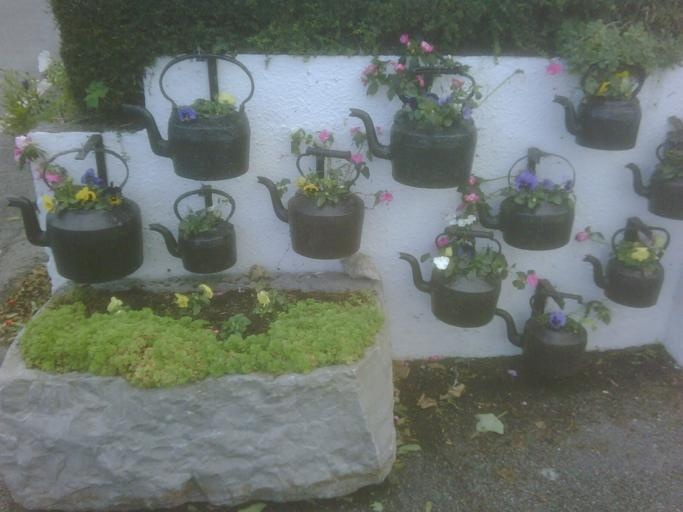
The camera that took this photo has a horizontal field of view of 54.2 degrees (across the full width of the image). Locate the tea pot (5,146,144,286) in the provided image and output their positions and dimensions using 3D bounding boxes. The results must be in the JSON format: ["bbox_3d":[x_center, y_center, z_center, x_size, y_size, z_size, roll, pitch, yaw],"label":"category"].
[{"bbox_3d":[-1.490,-0.319,4.081,0.895,0.938,0.540,-11,31,-25],"label":"tea pot"}]

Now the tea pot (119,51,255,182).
[{"bbox_3d":[-0.762,-0.813,3.901,0.870,0.776,0.507,-2,25,-9],"label":"tea pot"}]

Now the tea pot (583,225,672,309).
[{"bbox_3d":[1.799,0.012,4.364,0.610,0.630,0.382,0,26,13],"label":"tea pot"}]

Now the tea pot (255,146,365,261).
[{"bbox_3d":[-0.149,-0.274,3.998,0.429,0.738,0.521,-13,34,-27],"label":"tea pot"}]
